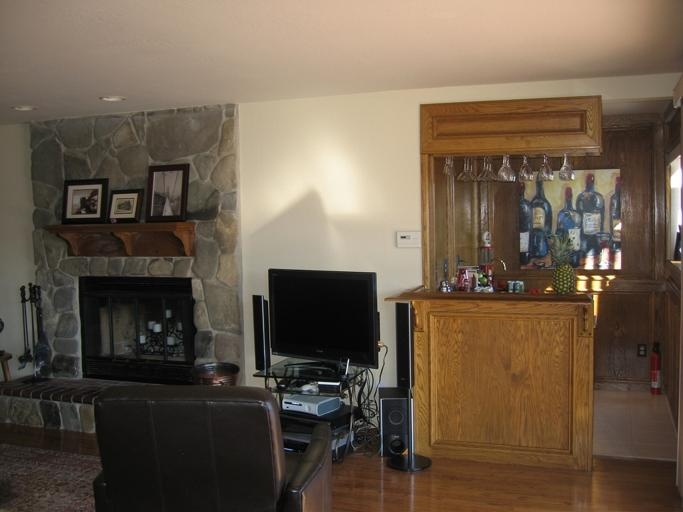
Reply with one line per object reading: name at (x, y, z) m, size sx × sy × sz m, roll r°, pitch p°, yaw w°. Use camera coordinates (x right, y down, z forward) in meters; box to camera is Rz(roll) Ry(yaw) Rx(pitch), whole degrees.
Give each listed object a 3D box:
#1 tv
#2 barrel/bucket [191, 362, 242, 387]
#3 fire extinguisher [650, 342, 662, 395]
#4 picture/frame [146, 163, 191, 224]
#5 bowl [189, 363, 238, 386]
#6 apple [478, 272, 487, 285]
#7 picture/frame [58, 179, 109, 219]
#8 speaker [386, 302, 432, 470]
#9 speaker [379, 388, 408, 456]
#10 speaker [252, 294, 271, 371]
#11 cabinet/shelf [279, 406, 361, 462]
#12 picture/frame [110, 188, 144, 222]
tv at (-0.132, 0.494, 4.468) m, size 0.764 × 0.607 × 0.084 m, roll 2°, pitch 6°, yaw 23°
barrel/bucket at (-1.054, 0.986, 4.874) m, size 0.390 × 0.153 × 0.375 m, roll -1°, pitch 5°, yaw 0°
fire extinguisher at (3.114, 1.110, 5.767) m, size 0.101 × 0.521 × 0.156 m, roll 2°, pitch 8°, yaw 28°
picture/frame at (-1.583, -0.556, 5.353) m, size 0.544 × 0.643 × 0.045 m, roll 1°, pitch -2°, yaw 20°
bowl at (-1.058, 0.986, 4.845) m, size 0.350 × 0.137 × 0.339 m, roll -1°, pitch 3°, yaw 0°
apple at (1.204, 0.196, 4.982) m, size 0.083 × 0.094 × 0.043 m, roll -36°, pitch -32°, yaw 16°
picture/frame at (-2.466, -0.542, 5.594) m, size 0.385 × 0.380 × 0.031 m, roll 0°, pitch -4°, yaw 17°
speaker at (0.487, 0.950, 4.303) m, size 0.334 × 1.217 × 0.314 m, roll -4°, pitch 7°, yaw -21°
speaker at (0.445, 1.285, 4.568) m, size 0.264 × 0.511 × 0.411 m, roll -1°, pitch 6°, yaw 17°
speaker at (-0.632, 0.585, 4.509) m, size 0.143 × 0.560 × 0.128 m, roll 0°, pitch -5°, yaw -13°
cabinet/shelf at (-0.179, 1.283, 4.388) m, size 0.525 × 0.344 × 0.535 m, roll 0°, pitch 0°, yaw 31°
picture/frame at (-2.008, -0.466, 5.456) m, size 0.311 × 0.325 × 0.034 m, roll -1°, pitch -8°, yaw 20°
